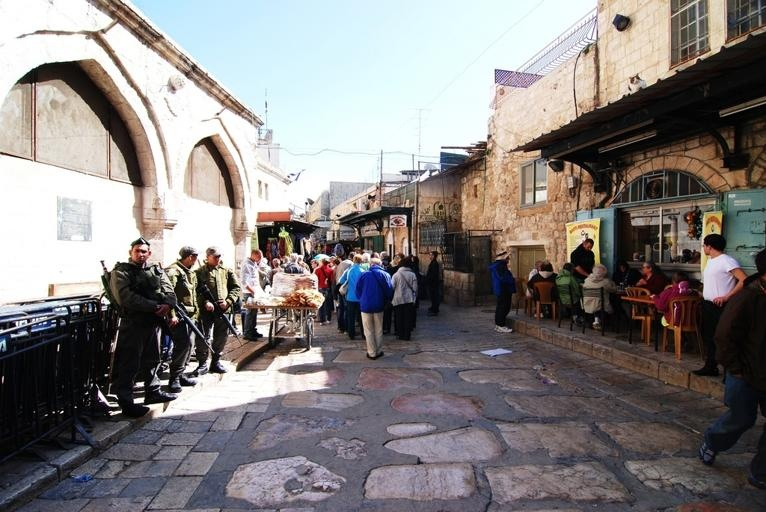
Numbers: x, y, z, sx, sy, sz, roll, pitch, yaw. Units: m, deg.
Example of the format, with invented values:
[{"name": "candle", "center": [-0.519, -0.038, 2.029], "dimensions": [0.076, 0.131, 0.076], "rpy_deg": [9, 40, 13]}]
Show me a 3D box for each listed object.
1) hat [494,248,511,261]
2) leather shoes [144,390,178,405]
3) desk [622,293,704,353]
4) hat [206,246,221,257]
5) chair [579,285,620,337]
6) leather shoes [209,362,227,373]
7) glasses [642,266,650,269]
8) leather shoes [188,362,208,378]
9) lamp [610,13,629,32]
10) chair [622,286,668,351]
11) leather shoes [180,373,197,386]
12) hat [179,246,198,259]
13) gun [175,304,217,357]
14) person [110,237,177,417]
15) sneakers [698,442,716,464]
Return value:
[{"name": "hat", "center": [3.073, -0.034, 14.210], "dimensions": [0.684, 0.277, 0.482], "rpy_deg": [-2, -2, 20]}, {"name": "leather shoes", "center": [-3.325, 2.073, 7.831], "dimensions": [0.522, 0.212, 0.168], "rpy_deg": [0, 5, -20]}, {"name": "desk", "center": [5.227, 1.122, 9.820], "dimensions": [0.813, 0.887, 1.291], "rpy_deg": [-1, 6, -3]}, {"name": "hat", "center": [-2.907, -0.083, 8.952], "dimensions": [0.197, 0.103, 0.141], "rpy_deg": [-4, 5, -19]}, {"name": "chair", "center": [4.587, 1.028, 11.485], "dimensions": [0.701, 0.944, 0.671], "rpy_deg": [3, -1, -38]}, {"name": "leather shoes", "center": [-2.847, 1.922, 9.038], "dimensions": [0.362, 0.245, 0.116], "rpy_deg": [-2, 9, -13]}, {"name": "glasses", "center": [5.384, 0.238, 10.750], "dimensions": [0.085, 0.067, 0.087], "rpy_deg": [1, -11, -36]}, {"name": "leather shoes", "center": [-3.107, 1.893, 8.789], "dimensions": [0.185, 0.208, 0.465], "rpy_deg": [-4, 2, 17]}, {"name": "lamp", "center": [5.490, -5.391, 12.264], "dimensions": [0.354, 0.312, 0.383], "rpy_deg": [30, 8, -3]}, {"name": "chair", "center": [5.029, 1.185, 10.389], "dimensions": [0.901, 0.954, 0.881], "rpy_deg": [-9, 1, -38]}, {"name": "leather shoes", "center": [-3.096, 1.967, 8.369], "dimensions": [0.180, 0.188, 0.243], "rpy_deg": [-3, 2, 21]}, {"name": "hat", "center": [-3.147, -0.068, 8.476], "dimensions": [0.247, 0.123, 0.175], "rpy_deg": [-21, 27, -39]}, {"name": "gun", "center": [-3.030, 1.180, 8.335], "dimensions": [0.334, 0.748, 1.126], "rpy_deg": [-5, 2, -8]}, {"name": "person", "center": [-3.465, 0.997, 7.563], "dimensions": [0.559, 2.410, 0.789], "rpy_deg": [-3, 3, 25]}, {"name": "sneakers", "center": [4.079, 2.521, 6.633], "dimensions": [0.119, 0.346, 0.157], "rpy_deg": [4, -38, 17]}]
